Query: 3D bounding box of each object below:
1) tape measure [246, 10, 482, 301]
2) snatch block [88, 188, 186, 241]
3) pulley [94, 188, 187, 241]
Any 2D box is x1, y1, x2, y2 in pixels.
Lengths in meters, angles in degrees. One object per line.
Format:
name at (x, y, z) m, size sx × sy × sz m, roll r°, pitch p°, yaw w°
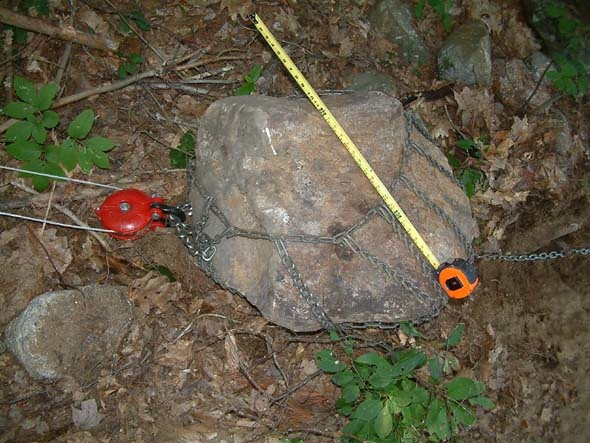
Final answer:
tape measure at (0.686, -0.595, 6.098) m, size 0.290 × 0.415 × 3.678 m, roll -34°, pitch 84°, yaw 4°
snatch block at (-1.618, -0.079, 5.965) m, size 0.568 × 0.725 × 0.523 m, roll -22°, pitch 75°, yaw -8°
pulley at (-1.559, -0.066, 6.010) m, size 0.751 × 0.293 × 0.495 m, roll 8°, pitch 72°, yaw -10°
